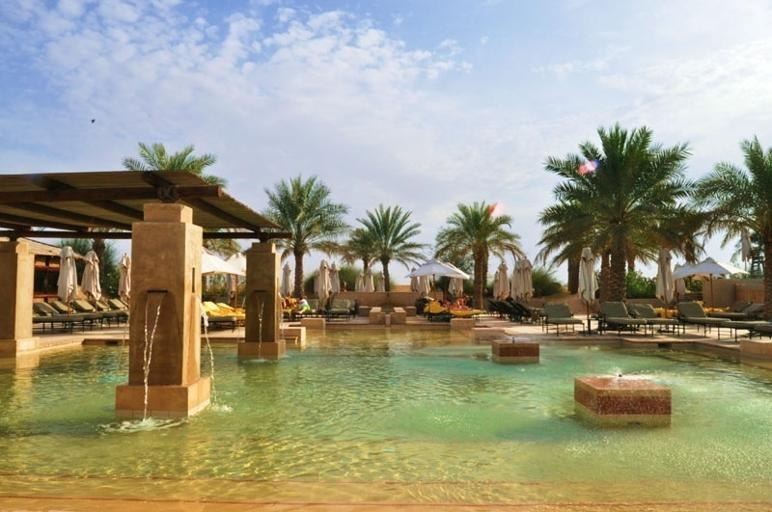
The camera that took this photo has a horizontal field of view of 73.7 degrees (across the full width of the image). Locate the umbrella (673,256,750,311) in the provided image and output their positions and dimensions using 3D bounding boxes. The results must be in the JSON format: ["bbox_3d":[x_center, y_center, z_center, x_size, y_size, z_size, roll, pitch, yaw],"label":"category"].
[{"bbox_3d":[15.798,1.469,24.981,2.918,1.988,2.782,0,2,-12],"label":"umbrella"}]

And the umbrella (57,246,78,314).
[{"bbox_3d":[-12.122,0.759,19.593,0.582,2.201,0.731,-1,3,-30],"label":"umbrella"}]
